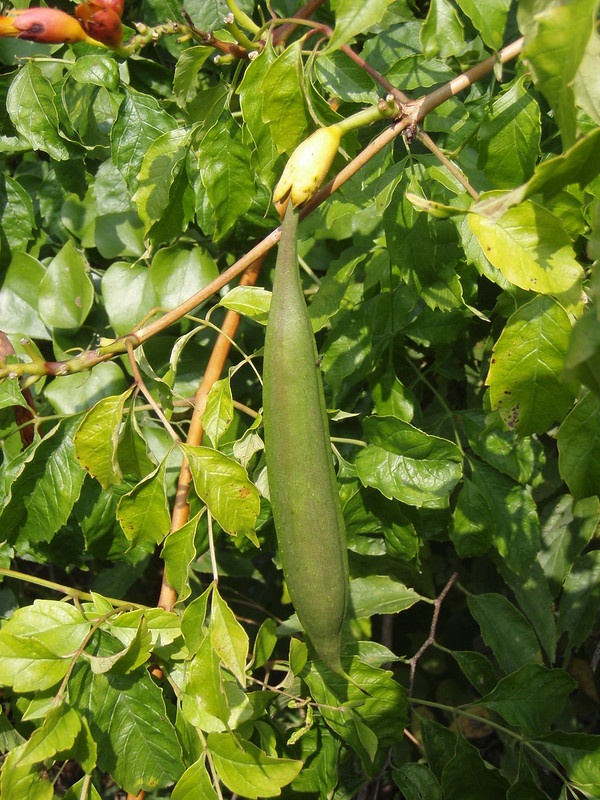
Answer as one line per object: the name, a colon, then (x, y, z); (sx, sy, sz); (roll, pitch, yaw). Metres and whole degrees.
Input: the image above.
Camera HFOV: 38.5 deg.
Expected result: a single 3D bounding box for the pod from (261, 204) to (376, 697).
pod: (0.004, 0.039, 0.624); (0.060, 0.320, 0.050); (-3, -4, -20)
